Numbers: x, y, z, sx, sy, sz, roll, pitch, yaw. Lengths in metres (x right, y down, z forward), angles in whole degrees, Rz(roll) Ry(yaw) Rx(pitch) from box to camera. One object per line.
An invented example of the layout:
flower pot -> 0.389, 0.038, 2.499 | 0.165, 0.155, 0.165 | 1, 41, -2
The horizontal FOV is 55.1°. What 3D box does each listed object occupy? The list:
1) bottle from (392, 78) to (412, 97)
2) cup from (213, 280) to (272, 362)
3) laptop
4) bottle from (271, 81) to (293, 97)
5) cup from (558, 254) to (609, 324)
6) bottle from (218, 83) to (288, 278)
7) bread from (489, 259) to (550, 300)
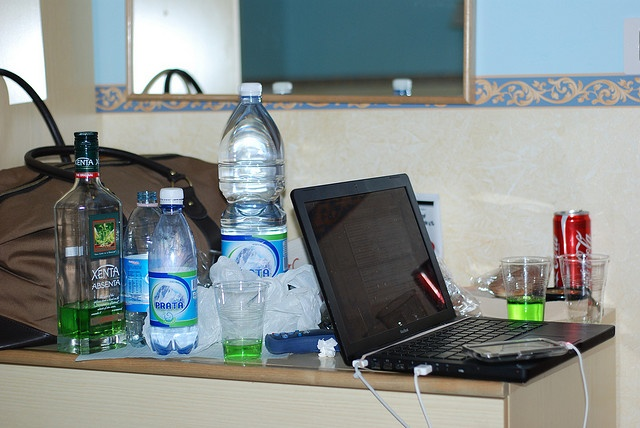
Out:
bottle -> 0.233, -0.360, 1.768 | 0.054, 0.047, 0.052 | -1, 2, -10
cup -> -0.144, 0.200, 1.201 | 0.159, 0.173, 0.137 | 0, 0, 2
laptop -> 0.247, 0.144, 1.202 | 0.471, 0.315, 0.476 | -2, 1, 37
bottle -> -0.114, -0.367, 1.823 | 0.057, 0.038, 0.037 | 2, 0, 4
cup -> 0.604, 0.168, 1.404 | 0.144, 0.189, 0.144 | -2, -2, 0
bottle -> -0.159, -0.082, 1.502 | 0.177, 0.476, 0.385 | -2, 0, -9
bread -> 0.484, 0.139, 1.444 | 0.144, 0.100, 0.124 | 1, 0, -33
